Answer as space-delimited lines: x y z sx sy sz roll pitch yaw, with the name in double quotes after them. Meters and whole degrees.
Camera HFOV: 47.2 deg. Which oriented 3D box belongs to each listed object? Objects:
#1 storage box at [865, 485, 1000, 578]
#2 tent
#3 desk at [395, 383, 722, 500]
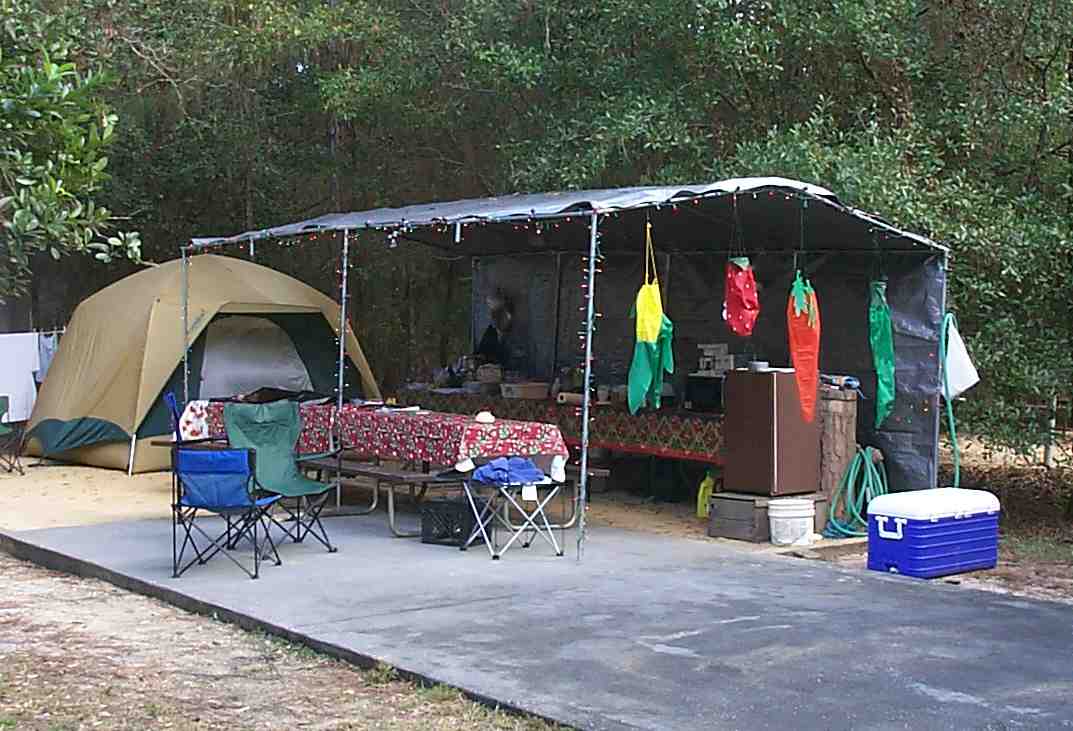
3.360 1.414 10.416 1.191 0.688 0.482 -4 9 -31 "storage box"
-4.659 -0.065 15.293 3.341 2.187 2.945 0 -1 -42 "tent"
0.697 0.573 13.065 2.863 0.612 0.530 4 24 0 "desk"
